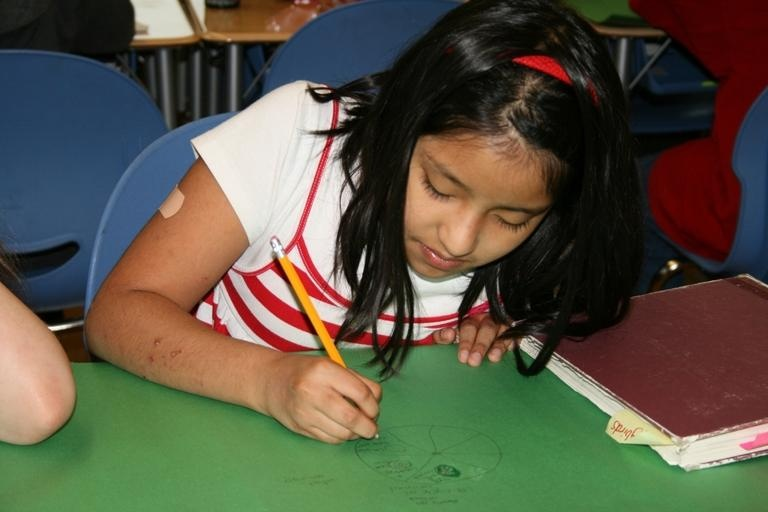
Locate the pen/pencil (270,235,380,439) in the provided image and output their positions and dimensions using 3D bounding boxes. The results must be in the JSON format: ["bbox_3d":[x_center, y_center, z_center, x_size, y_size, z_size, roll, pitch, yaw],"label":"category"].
[{"bbox_3d":[-0.109,0.146,1.221,0.024,0.364,0.027,-21,7,34],"label":"pen/pencil"}]
